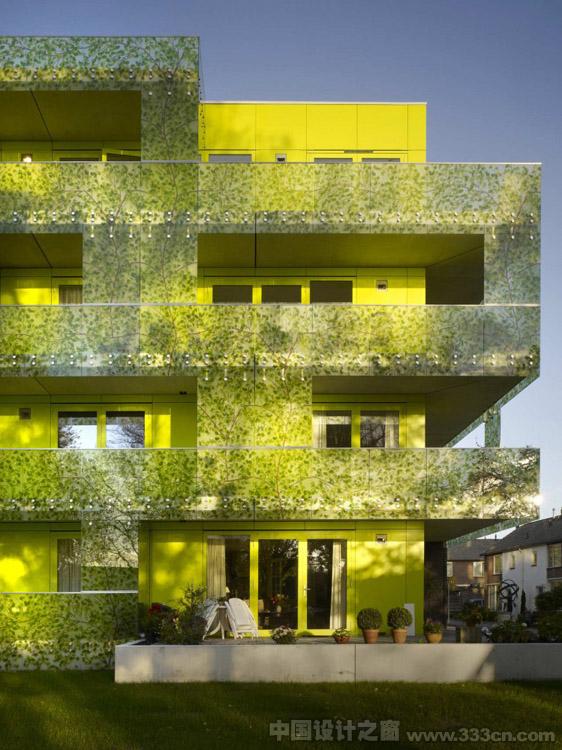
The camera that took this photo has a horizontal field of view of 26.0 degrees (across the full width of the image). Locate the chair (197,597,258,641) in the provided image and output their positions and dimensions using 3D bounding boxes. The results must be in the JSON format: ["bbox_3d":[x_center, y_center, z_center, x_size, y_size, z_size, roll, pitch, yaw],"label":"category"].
[{"bbox_3d":[-1.120,5.298,26.658,1.136,0.846,1.125,2,-15,-9],"label":"chair"}]
